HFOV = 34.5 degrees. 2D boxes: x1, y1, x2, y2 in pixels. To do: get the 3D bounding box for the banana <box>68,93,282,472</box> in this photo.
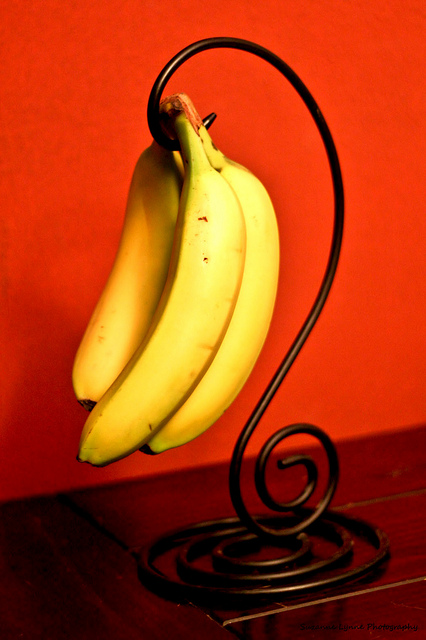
[{"bbox_3d":[-0.045,-0.034,0.598,0.088,0.331,0.176,7,-13,46],"label":"banana"}]
